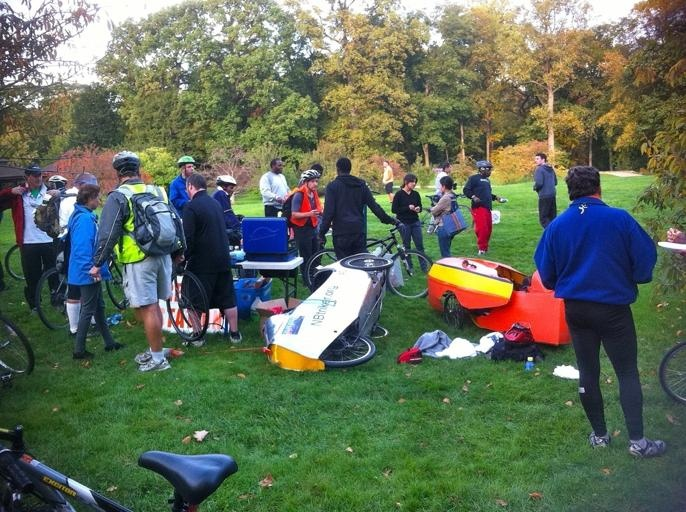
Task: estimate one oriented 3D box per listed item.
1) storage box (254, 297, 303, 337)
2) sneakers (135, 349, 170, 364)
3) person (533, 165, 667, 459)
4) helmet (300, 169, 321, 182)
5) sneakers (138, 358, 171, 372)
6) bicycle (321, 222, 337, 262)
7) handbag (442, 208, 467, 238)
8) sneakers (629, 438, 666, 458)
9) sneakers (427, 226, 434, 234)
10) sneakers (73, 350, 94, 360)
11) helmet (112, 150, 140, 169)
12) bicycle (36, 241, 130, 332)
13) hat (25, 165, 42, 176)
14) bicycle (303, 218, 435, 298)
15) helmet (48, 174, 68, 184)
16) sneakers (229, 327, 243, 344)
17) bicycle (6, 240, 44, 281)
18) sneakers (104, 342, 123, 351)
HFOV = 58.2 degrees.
[{"bbox_3d":[-0.984,0.875,8.900,0.597,0.471,0.669,-5,1,-26],"label":"storage box"},{"bbox_3d":[-2.472,1.292,8.019,0.409,0.184,0.173,-1,6,-37],"label":"sneakers"},{"bbox_3d":[2.443,0.514,5.904,1.087,2.760,0.434,2,4,29],"label":"person"},{"bbox_3d":[-0.541,-1.304,10.357,0.293,0.228,0.246,-11,23,8],"label":"helmet"},{"bbox_3d":[-2.367,1.362,7.780,0.376,0.170,0.162,2,2,-15],"label":"sneakers"},{"bbox_3d":[-0.290,-0.218,11.269,0.180,0.543,0.556,-3,-10,2],"label":"bicycle"},{"bbox_3d":[2.032,-0.612,11.311,0.433,0.496,0.304,0,3,-5],"label":"handbag"},{"bbox_3d":[2.906,1.840,5.899,0.290,0.173,0.139,-4,-33,12],"label":"sneakers"},{"bbox_3d":[1.866,-0.565,13.239,0.155,0.188,0.458,-1,-2,13],"label":"sneakers"},{"bbox_3d":[-3.425,1.306,8.177,0.267,0.124,0.108,3,7,-23],"label":"sneakers"},{"bbox_3d":[-2.650,-1.163,7.570,0.274,0.250,0.298,-1,3,-9],"label":"helmet"},{"bbox_3d":[-4.373,0.665,10.213,1.006,1.314,2.125,-3,-8,21],"label":"bicycle"},{"bbox_3d":[-5.102,-1.414,10.179,0.243,0.135,0.171,-10,14,-16],"label":"hat"},{"bbox_3d":[0.505,0.061,10.991,2.152,1.349,1.115,-1,7,12],"label":"bicycle"},{"bbox_3d":[-5.134,-1.341,11.058,0.391,0.148,0.286,-1,3,45],"label":"helmet"},{"bbox_3d":[-1.498,1.116,8.601,0.179,0.153,0.344,1,-7,-18],"label":"sneakers"},{"bbox_3d":[-5.702,0.107,11.088,0.174,0.787,0.791,12,38,-43],"label":"bicycle"},{"bbox_3d":[-3.120,1.226,8.430,0.263,0.118,0.097,-2,9,-28],"label":"sneakers"}]
